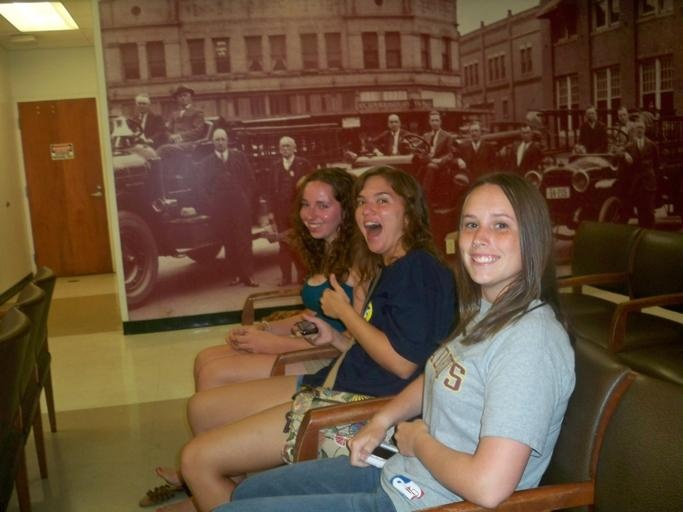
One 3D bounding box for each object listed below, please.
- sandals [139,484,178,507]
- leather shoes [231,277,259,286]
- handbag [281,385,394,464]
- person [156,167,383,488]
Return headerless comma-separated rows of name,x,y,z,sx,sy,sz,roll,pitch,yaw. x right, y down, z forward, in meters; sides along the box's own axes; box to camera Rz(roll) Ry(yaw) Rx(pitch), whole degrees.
sandals,-0.883,1.162,2.548,0.184,0.075,0.052,-12,-6,-20
leather shoes,-0.947,0.262,5.126,0.159,0.063,0.099,4,6,-30
handbag,-0.047,0.605,1.905,0.295,0.254,0.218,2,-1,-1
person,-0.360,0.397,2.666,0.997,1.660,0.698,4,13,-17
